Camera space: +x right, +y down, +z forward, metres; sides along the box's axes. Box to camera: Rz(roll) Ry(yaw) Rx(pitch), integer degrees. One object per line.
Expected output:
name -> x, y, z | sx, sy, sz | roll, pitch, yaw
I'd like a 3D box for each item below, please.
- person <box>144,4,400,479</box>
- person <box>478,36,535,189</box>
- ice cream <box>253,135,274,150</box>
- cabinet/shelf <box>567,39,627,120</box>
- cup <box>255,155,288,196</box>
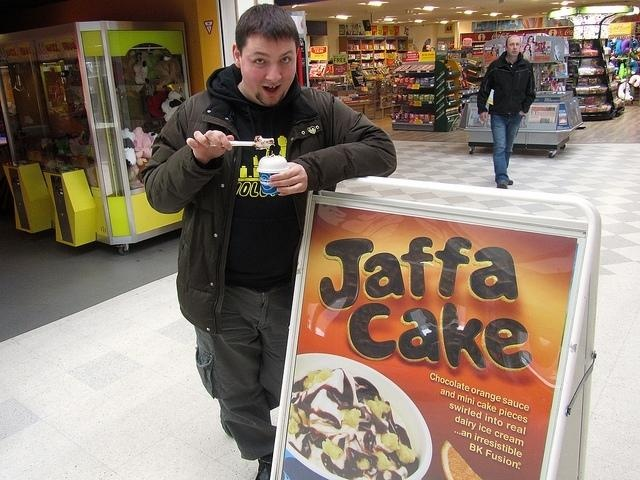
person -> -0.219, 0.166, 1.733 | 0.899, 2.065, 0.564 | 0, 20, 8
person -> 2.936, -1.986, 6.447 | 0.734, 2.214, 0.768 | -10, 21, -22
ice cream -> -0.185, -0.322, 1.363 | 0.055, 0.023, 0.057 | 0, -23, -11
cabinet/shelf -> 8.553, -5.017, 12.757 | 1.604, 2.360, 1.261 | 6, 21, 21
cup -> -0.162, -0.221, 1.363 | 0.113, 0.119, 0.114 | 0, 11, 0
